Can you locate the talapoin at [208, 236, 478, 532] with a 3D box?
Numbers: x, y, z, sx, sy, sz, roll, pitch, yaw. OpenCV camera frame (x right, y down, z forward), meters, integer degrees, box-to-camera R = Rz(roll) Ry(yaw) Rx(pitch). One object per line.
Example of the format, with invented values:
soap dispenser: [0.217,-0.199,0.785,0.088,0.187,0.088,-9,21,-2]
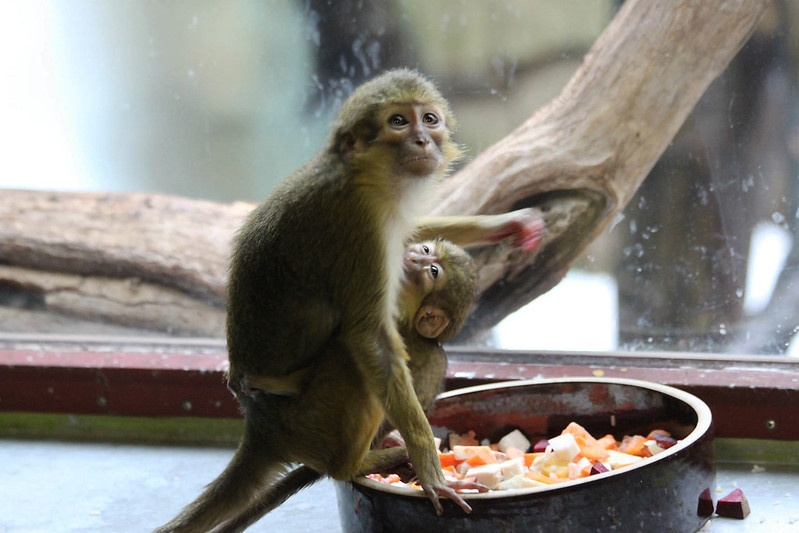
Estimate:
talapoin: [-0.213,0.483,4.888,1.231,0.266,0.508,-48,36,-4]

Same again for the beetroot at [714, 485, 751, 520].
beetroot: [1.462,1.015,5.149,0.121,0.103,0.130,-12,-7,21]
